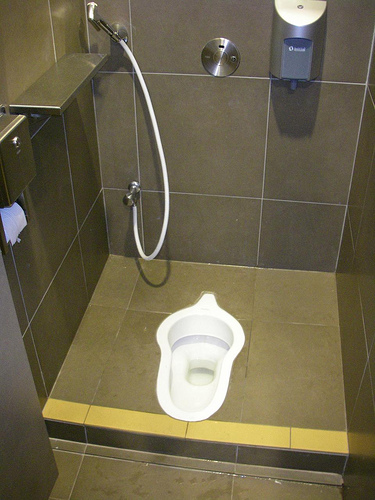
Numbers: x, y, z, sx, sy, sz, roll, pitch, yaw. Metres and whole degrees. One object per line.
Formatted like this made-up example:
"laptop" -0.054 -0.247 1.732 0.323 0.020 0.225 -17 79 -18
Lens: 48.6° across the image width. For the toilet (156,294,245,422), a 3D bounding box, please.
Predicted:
"toilet" 0.044 0.480 1.720 0.331 0.233 0.615 3 31 8
